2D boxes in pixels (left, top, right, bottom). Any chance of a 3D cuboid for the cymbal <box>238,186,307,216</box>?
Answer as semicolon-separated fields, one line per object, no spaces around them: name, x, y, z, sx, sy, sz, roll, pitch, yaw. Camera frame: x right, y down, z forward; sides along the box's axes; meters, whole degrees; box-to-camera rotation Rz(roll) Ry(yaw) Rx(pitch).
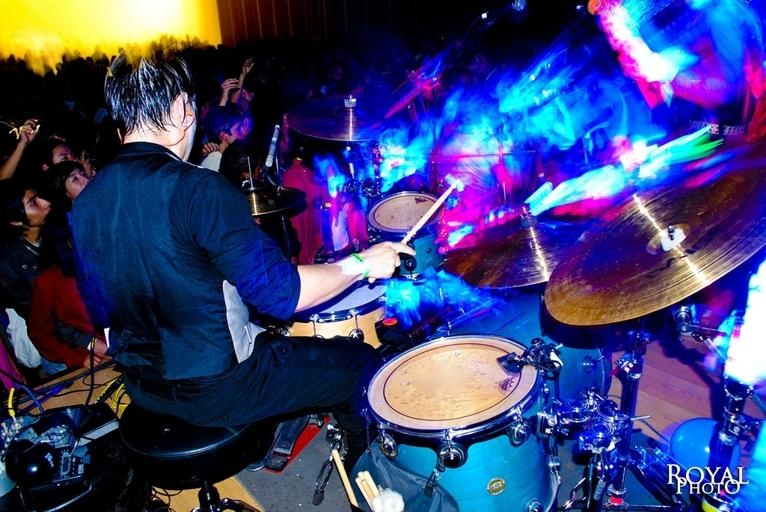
cymbal;-0.938;-0.464;4.395;0.401;0.075;0.382;-13;30;-19

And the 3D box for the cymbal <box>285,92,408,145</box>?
cymbal;-0.369;-1.502;5.853;1.149;0.218;1.109;24;42;24

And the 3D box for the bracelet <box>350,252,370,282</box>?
bracelet;-0.164;0.073;3.192;0.148;0.100;0.130;-5;-9;-5
